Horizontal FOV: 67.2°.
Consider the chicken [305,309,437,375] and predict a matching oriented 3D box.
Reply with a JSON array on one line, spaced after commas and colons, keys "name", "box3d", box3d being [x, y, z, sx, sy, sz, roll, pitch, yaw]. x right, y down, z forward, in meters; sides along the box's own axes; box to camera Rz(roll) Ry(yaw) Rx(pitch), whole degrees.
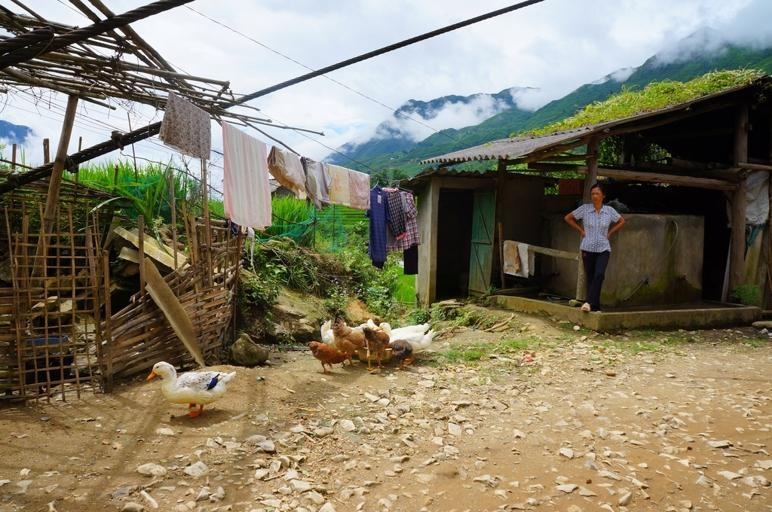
[{"name": "chicken", "box3d": [-0.255, 1.559, 10.304, 2.119, 0.678, 0.785, -3, 1, -7]}]

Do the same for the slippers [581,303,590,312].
[{"name": "slippers", "box3d": [4.118, 1.056, 11.946, 0.212, 0.211, 0.193, -2, 1, 27]}]

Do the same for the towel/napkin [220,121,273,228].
[{"name": "towel/napkin", "box3d": [-2.544, -1.429, 10.614, 0.396, 1.673, 1.165, -3, 1, 20]}]
